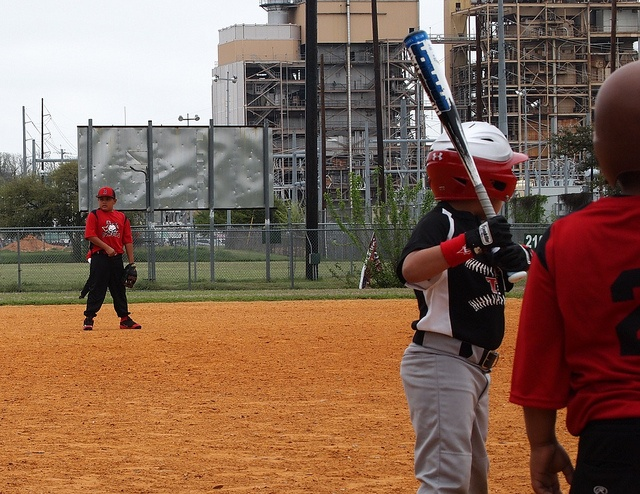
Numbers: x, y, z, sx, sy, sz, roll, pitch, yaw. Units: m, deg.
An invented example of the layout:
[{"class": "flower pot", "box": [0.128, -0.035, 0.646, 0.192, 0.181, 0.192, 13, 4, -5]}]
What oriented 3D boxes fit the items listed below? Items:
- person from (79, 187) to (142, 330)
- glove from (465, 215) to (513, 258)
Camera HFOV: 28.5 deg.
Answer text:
[{"class": "person", "box": [-3.293, 0.178, 19.875, 0.956, 2.229, 0.602, 1, 2, -19]}, {"class": "glove", "box": [1.490, -0.105, 11.197, 0.348, 0.400, 0.311, 2, 8, -7]}]
